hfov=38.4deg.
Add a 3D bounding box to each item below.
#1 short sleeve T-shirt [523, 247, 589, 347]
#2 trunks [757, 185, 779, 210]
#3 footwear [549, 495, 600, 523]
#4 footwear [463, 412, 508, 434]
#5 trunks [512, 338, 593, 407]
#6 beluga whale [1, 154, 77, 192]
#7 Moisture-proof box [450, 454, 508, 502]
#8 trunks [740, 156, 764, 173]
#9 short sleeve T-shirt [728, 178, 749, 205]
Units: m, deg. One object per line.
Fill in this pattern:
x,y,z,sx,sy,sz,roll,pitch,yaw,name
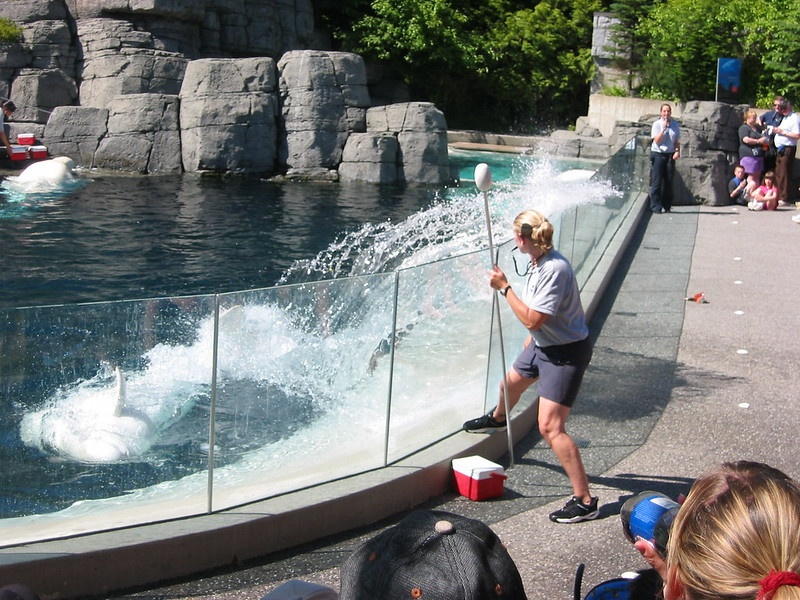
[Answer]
1.536,-0.042,11.697,0.661,0.973,1.101,-2,9,-6,short sleeve T-shirt
6.910,-1.902,21.543,0.278,0.555,0.553,-4,-1,42,trunks
1.726,2.077,11.450,0.524,0.268,0.206,-1,-2,-5,footwear
0.876,1.288,12.124,0.486,0.213,0.175,0,15,-7,footwear
1.505,0.715,11.698,0.365,0.511,0.662,28,-7,-29,trunks
-8.251,-2.790,26.235,0.862,0.441,1.235,3,21,19,beluga whale
0.773,1.763,11.615,0.399,0.328,0.502,-9,16,-33,Moisture-proof box
6.726,-2.560,21.871,0.333,0.239,0.331,0,6,7,trunks
6.515,-2.066,22.085,0.516,0.580,0.427,-4,4,-35,short sleeve T-shirt
